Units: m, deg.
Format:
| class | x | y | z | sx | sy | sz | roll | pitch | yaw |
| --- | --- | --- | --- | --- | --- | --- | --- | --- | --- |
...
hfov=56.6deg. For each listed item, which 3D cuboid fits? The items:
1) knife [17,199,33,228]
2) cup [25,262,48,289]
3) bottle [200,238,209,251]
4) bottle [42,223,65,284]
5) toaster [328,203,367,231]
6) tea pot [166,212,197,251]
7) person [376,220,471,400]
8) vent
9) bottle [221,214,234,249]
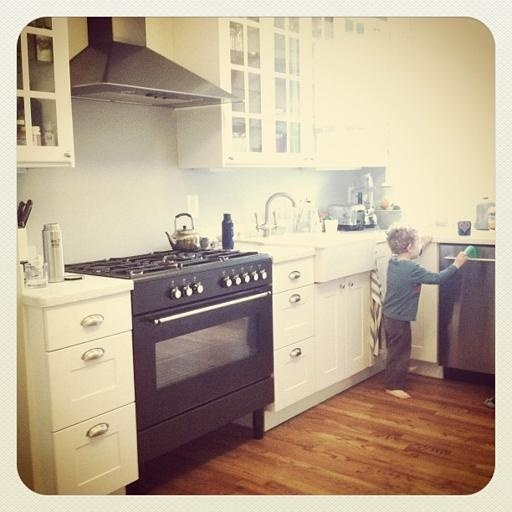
| class | x | y | z | sx | sy | sz | roll | pitch | yaw |
| --- | --- | --- | --- | --- | --- | --- | --- | --- | --- |
| knife | -0.808 | -0.148 | 1.665 | 0.044 | 0.103 | 0.337 | -4 | 7 | -25 |
| cup | -0.692 | 0.062 | 1.493 | 0.074 | 0.069 | 0.075 | 2 | 11 | 0 |
| bottle | -0.249 | -0.058 | 2.384 | 0.053 | 0.054 | 0.055 | 5 | 18 | 9 |
| bottle | -0.672 | -0.009 | 1.573 | 0.059 | 0.190 | 0.087 | -4 | 7 | -24 |
| toaster | 0.635 | -0.260 | 3.221 | 0.206 | 0.149 | 0.201 | -1 | 9 | -12 |
| tea pot | -0.344 | -0.106 | 2.216 | 0.167 | 0.168 | 0.117 | -5 | 13 | -23 |
| person | 0.912 | 0.293 | 2.618 | 0.412 | 0.896 | 0.350 | 1 | 7 | 13 |
| vent | -0.448 | -0.631 | 1.904 | 0.440 | 0.297 | 0.644 | 2 | 9 | 38 |
| bottle | -0.137 | -0.117 | 2.326 | 0.050 | 0.166 | 0.170 | -2 | 7 | -6 |
